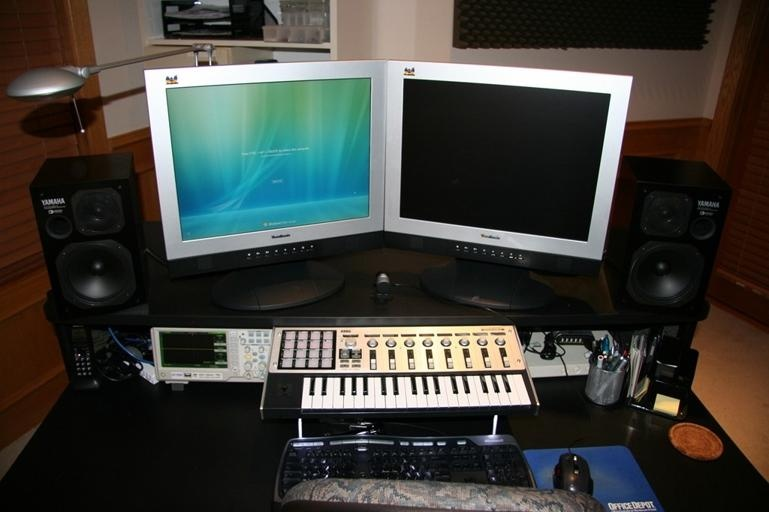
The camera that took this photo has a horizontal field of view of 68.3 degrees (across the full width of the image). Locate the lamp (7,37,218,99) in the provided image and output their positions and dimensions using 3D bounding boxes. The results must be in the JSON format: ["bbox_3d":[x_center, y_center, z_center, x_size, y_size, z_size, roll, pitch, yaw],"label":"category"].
[{"bbox_3d":[-0.972,-0.680,2.050,0.556,0.153,0.503,-2,27,-6],"label":"lamp"}]

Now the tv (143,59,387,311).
[{"bbox_3d":[-0.405,-0.251,2.007,0.820,0.773,0.393,-5,28,-15],"label":"tv"}]

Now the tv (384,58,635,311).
[{"bbox_3d":[0.446,-0.248,2.034,0.845,0.858,0.312,5,27,10],"label":"tv"}]
